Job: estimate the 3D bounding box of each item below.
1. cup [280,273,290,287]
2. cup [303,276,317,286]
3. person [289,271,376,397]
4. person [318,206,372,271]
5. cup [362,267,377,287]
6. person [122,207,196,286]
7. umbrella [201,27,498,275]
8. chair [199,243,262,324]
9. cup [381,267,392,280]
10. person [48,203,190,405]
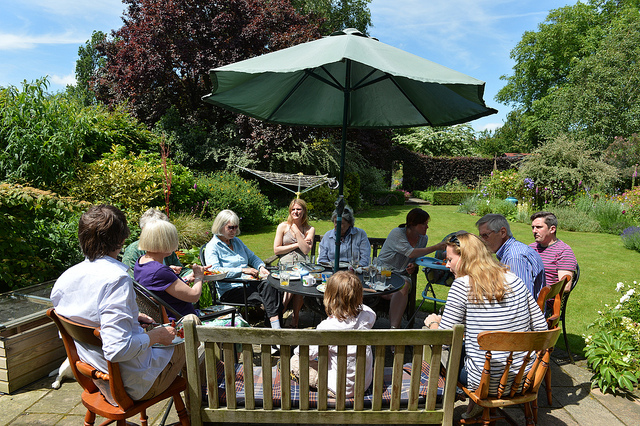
[{"bbox_3d":[-0.478,0.931,6.688,0.130,0.160,0.135,1,-3,0],"label":"cup"},{"bbox_3d":[-0.145,0.929,6.624,0.147,0.099,0.100,8,-10,-41],"label":"cup"},{"bbox_3d":[0.120,1.413,6.033,1.050,1.489,1.097,-5,7,-38],"label":"person"},{"bbox_3d":[0.335,0.430,7.462,0.764,1.116,0.641,-1,-7,-4],"label":"person"},{"bbox_3d":[0.686,0.896,6.885,0.198,0.228,0.216,2,-4,0],"label":"cup"},{"bbox_3d":[-2.320,0.466,7.116,1.124,1.459,0.939,-1,9,-7],"label":"person"},{"bbox_3d":[0.301,-0.726,8.600,4.049,4.107,4.270,2,10,-8],"label":"umbrella"},{"bbox_3d":[-1.440,1.001,7.273,0.942,1.413,1.032,0,1,11],"label":"chair"},{"bbox_3d":[0.945,0.819,6.992,0.123,0.235,0.234,-1,3,-11],"label":"cup"},{"bbox_3d":[-2.283,1.037,5.523,1.384,2.233,0.537,2,6,5],"label":"person"}]
